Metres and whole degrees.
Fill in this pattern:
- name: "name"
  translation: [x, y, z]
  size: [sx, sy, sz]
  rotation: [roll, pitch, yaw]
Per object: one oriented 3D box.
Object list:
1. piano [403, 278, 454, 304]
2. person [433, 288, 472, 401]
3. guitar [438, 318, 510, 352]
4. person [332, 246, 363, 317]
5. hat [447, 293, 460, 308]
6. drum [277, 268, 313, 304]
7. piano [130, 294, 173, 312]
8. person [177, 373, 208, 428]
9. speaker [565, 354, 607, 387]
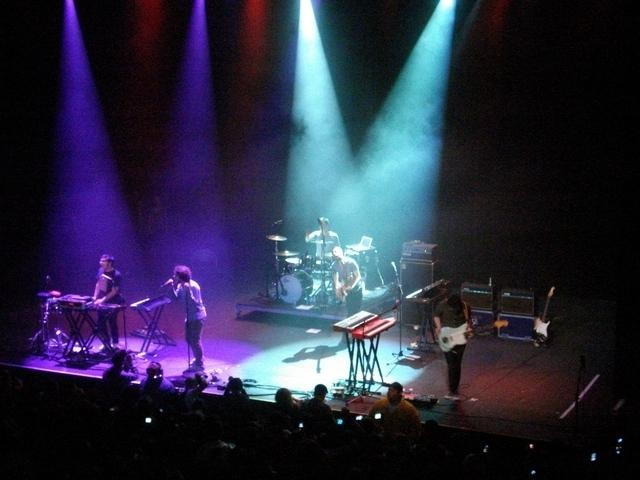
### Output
- name: "piano"
  translation: [2.112, 1.002, 9.934]
  size: [0.756, 0.250, 0.516]
  rotation: [-17, 11, -41]
- name: "person"
  translation: [2.075, 1.723, 8.145]
  size: [0.532, 1.501, 1.436]
  rotation: [-1, -5, 12]
- name: "guitar"
  translation: [2.655, 1.639, 8.863]
  size: [0.756, 0.314, 0.107]
  rotation: [-11, 14, -12]
- name: "person"
  translation: [0.617, 0.837, 10.755]
  size: [0.584, 1.381, 1.068]
  rotation: [0, -1, -13]
- name: "hat"
  translation: [2.024, 0.929, 7.797]
  size: [0.204, 0.255, 0.159]
  rotation: [0, -1, -21]
- name: "drum"
  translation: [-0.507, 0.985, 11.044]
  size: [0.664, 0.717, 0.398]
  rotation: [0, 10, 26]
- name: "piano"
  translation: [-2.982, 1.123, 9.134]
  size: [0.453, 0.294, 0.559]
  rotation: [-1, -2, 28]
- name: "person"
  translation: [-1.625, 2.071, 6.653]
  size: [0.417, 0.807, 0.254]
  rotation: [-4, 2, 34]
- name: "speaker"
  translation: [4.297, 2.123, 8.366]
  size: [0.643, 0.179, 0.586]
  rotation: [-14, 12, -35]
